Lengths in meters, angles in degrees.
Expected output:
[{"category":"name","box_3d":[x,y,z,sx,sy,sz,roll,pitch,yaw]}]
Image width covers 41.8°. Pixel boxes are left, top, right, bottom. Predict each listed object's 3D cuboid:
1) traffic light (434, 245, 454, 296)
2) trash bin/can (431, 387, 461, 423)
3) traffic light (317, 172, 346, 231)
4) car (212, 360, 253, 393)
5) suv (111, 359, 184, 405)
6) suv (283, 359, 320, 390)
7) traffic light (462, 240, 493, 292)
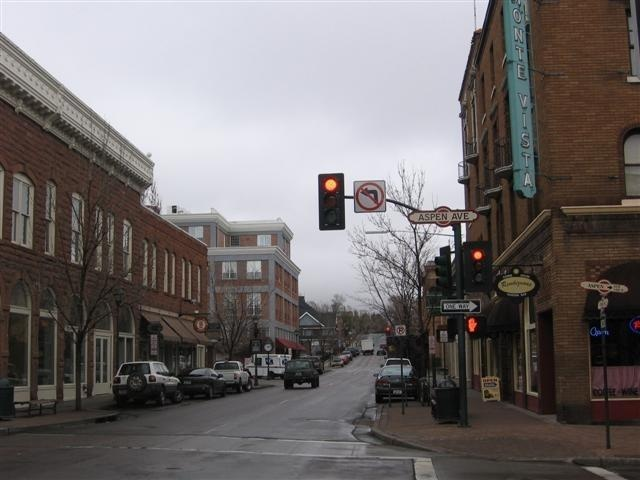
[{"category":"traffic light","box_3d":[3.773,1.137,24.977,0.654,1.939,0.604,-3,-35,13]},{"category":"trash bin/can","box_3d":[3.971,5.067,26.541,0.977,1.367,1.599,-4,-3,5]},{"category":"traffic light","box_3d":[0.269,-0.969,22.001,0.644,1.591,0.369,-1,-21,1]},{"category":"car","box_3d":[-4.840,7.464,47.787,1.119,0.980,2.393,-3,10,15]},{"category":"suv","box_3d":[-7.341,6.232,36.259,1.486,1.371,3.082,-2,-8,9]},{"category":"suv","box_3d":[-1.219,8.239,51.293,2.057,2.045,1.909,-3,-16,-6]},{"category":"traffic light","box_3d":[4.683,0.768,24.721,0.833,1.436,0.745,-5,9,-4]}]
